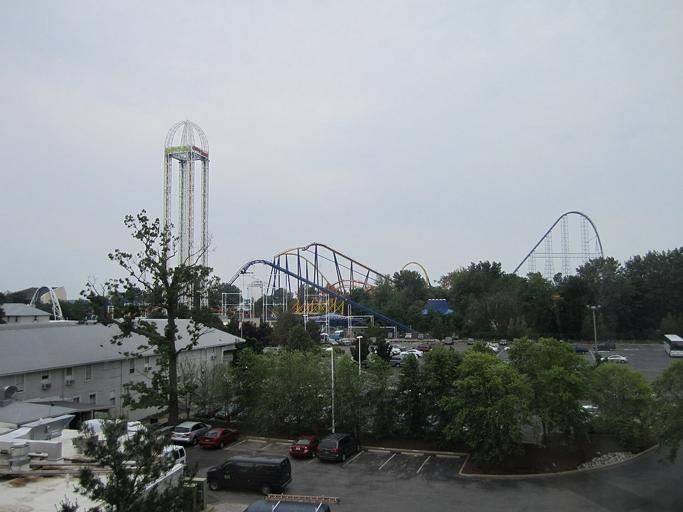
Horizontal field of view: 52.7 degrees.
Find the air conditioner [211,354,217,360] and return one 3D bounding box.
[{"bbox_3d":[-11.932,9.390,64.246,0.314,0.473,0.594,-3,1,-14],"label":"air conditioner"}]

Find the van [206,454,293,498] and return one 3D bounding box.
[{"bbox_3d":[-5.290,12.748,40.868,4.212,1.957,2.245,2,-6,9],"label":"van"}]

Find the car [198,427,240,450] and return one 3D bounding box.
[{"bbox_3d":[-8.511,12.766,48.532,1.016,0.926,2.640,2,2,20],"label":"car"}]

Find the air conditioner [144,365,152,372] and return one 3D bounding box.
[{"bbox_3d":[-15.881,9.246,56.517,0.677,0.535,0.376,-2,-2,42],"label":"air conditioner"}]

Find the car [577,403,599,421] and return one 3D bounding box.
[{"bbox_3d":[16.626,10.496,46.279,1.954,1.101,0.593,-3,5,-42],"label":"car"}]

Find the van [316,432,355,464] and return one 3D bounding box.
[{"bbox_3d":[-0.183,12.939,46.392,1.164,0.980,2.570,-1,-1,23],"label":"van"}]

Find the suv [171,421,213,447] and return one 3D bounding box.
[{"bbox_3d":[-10.737,12.673,48.752,1.146,0.993,2.583,0,1,18],"label":"suv"}]
